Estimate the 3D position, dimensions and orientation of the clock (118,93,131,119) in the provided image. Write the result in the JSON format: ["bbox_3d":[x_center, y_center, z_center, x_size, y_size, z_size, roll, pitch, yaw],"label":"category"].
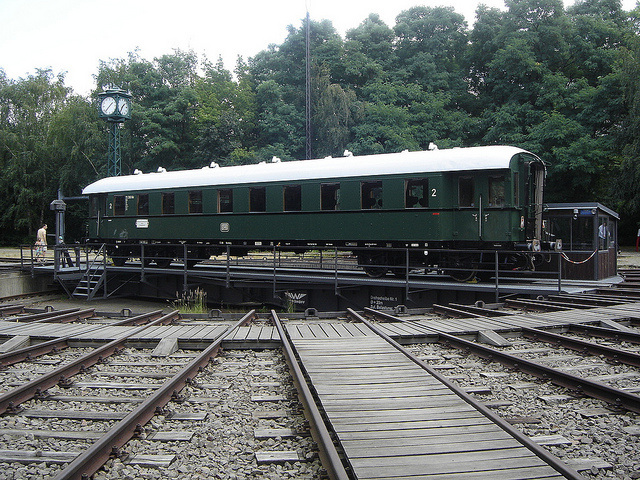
[{"bbox_3d":[-10.262,-6.923,28.976,0.256,1.115,0.670,-1,4,34],"label":"clock"}]

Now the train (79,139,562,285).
[{"bbox_3d":[-1.438,-0.954,18.994,17.074,3.880,3.574,1,7,29],"label":"train"}]

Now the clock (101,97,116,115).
[{"bbox_3d":[-10.972,-6.918,28.776,0.897,0.887,0.101,-1,12,8],"label":"clock"}]
